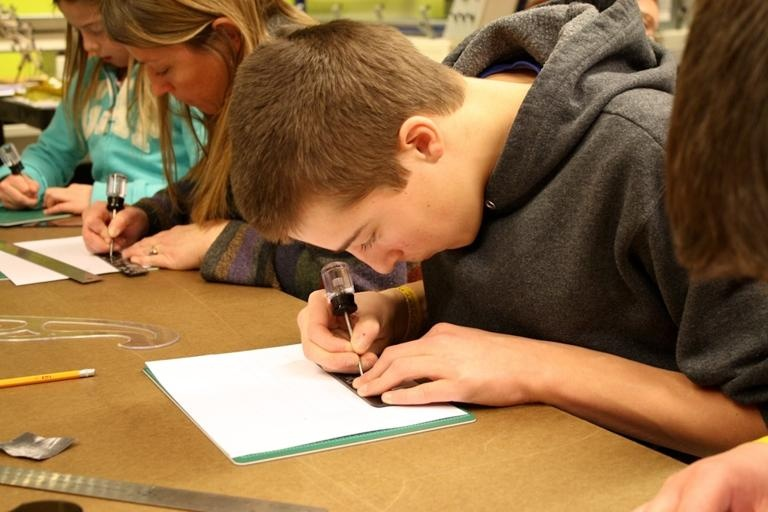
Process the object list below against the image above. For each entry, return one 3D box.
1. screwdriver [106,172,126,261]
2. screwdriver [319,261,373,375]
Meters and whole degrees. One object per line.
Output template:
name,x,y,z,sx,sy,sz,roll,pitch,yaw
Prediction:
screwdriver,-0.822,-0.130,1.916,0.059,0.237,0.057,5,0,4
screwdriver,-0.071,0.128,1.237,0.058,0.228,0.060,-24,-13,39
